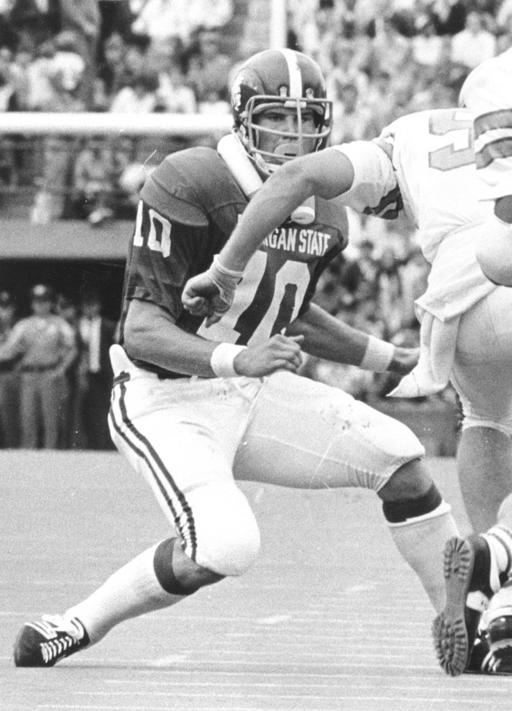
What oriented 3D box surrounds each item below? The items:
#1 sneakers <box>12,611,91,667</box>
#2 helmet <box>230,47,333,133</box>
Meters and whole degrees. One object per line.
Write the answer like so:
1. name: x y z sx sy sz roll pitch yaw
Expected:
1. sneakers: -0.376 0.549 2.528 0.142 0.057 0.064 -4 -8 -44
2. helmet: 0.052 -0.566 2.831 0.199 0.184 0.252 1 5 -12
